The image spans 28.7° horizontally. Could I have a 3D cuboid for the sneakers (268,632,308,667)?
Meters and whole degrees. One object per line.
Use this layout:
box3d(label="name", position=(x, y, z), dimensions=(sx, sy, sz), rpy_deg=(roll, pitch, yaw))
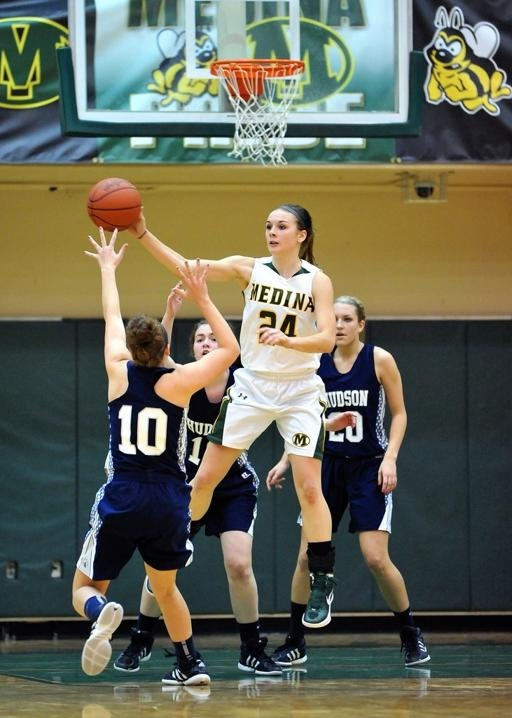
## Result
box3d(label="sneakers", position=(0.156, 1.333, 4.510), dimensions=(0.233, 0.145, 0.081), rpy_deg=(14, -21, -39))

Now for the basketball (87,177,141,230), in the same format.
box3d(label="basketball", position=(-0.554, -0.615, 4.071), dimensions=(0.236, 0.203, 0.226), rpy_deg=(1, -7, -44))

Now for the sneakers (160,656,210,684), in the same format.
box3d(label="sneakers", position=(-0.264, 1.234, 3.958), dimensions=(0.092, 0.100, 0.241), rpy_deg=(14, -16, -35))

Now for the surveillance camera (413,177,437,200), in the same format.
box3d(label="surveillance camera", position=(1.035, -1.057, 6.180), dimensions=(0.126, 0.103, 0.112), rpy_deg=(-1, -1, -1))

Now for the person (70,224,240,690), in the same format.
box3d(label="person", position=(-0.381, 0.388, 3.683), dimensions=(0.608, 1.403, 0.492), rpy_deg=(-3, -1, -16))

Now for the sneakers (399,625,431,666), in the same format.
box3d(label="sneakers", position=(0.723, 1.323, 4.608), dimensions=(0.120, 0.182, 0.220), rpy_deg=(-3, -1, 7))

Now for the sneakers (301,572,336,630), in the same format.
box3d(label="sneakers", position=(0.273, 0.990, 4.226), dimensions=(0.123, 0.131, 0.320), rpy_deg=(-1, 1, 5))

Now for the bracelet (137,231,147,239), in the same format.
box3d(label="bracelet", position=(-0.453, -0.502, 4.006), dimensions=(0.033, 0.008, 0.033), rpy_deg=(-38, -1, 11))

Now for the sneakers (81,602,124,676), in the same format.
box3d(label="sneakers", position=(-0.535, 0.986, 3.495), dimensions=(0.139, 0.217, 0.200), rpy_deg=(-3, -1, -10))

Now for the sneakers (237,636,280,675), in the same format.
box3d(label="sneakers", position=(0.000, 1.271, 4.225), dimensions=(0.099, 0.160, 0.250), rpy_deg=(16, -18, -40))
